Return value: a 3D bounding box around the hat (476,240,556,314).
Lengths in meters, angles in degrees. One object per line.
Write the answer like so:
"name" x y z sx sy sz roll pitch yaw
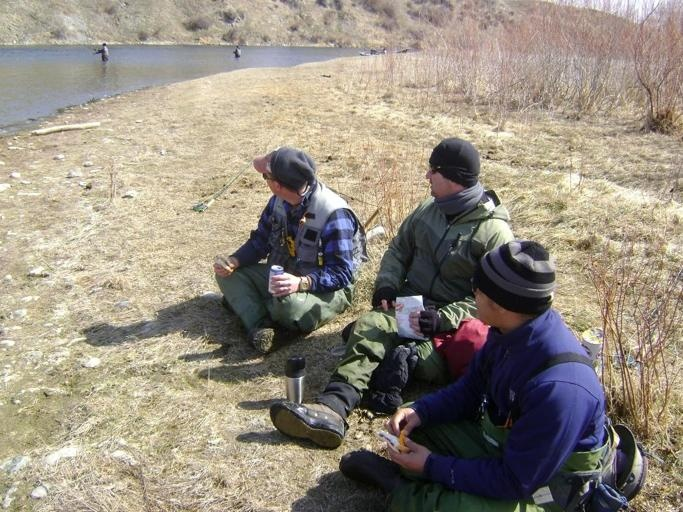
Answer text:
"hat" 0.915 0.108 2.784 0.409 0.305 0.389 24 32 30

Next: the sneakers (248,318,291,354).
"sneakers" -0.617 0.711 4.398 0.184 0.161 0.364 -2 -4 23

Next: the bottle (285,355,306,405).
"bottle" -0.336 0.903 3.706 0.138 0.401 0.219 1 19 -6

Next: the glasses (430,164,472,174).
"glasses" 0.867 -0.655 3.988 0.164 0.058 0.134 21 19 35

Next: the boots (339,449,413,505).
"boots" 0.192 1.326 3.195 0.415 0.249 0.116 24 61 9

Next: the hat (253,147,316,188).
"hat" -0.434 -0.684 4.299 0.494 0.303 0.231 18 -9 2

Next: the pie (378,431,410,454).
"pie" 0.314 1.081 3.009 0.169 0.037 0.095 15 15 18

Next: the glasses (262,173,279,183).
"glasses" -0.590 -0.615 4.286 0.126 0.044 0.087 6 33 -13
